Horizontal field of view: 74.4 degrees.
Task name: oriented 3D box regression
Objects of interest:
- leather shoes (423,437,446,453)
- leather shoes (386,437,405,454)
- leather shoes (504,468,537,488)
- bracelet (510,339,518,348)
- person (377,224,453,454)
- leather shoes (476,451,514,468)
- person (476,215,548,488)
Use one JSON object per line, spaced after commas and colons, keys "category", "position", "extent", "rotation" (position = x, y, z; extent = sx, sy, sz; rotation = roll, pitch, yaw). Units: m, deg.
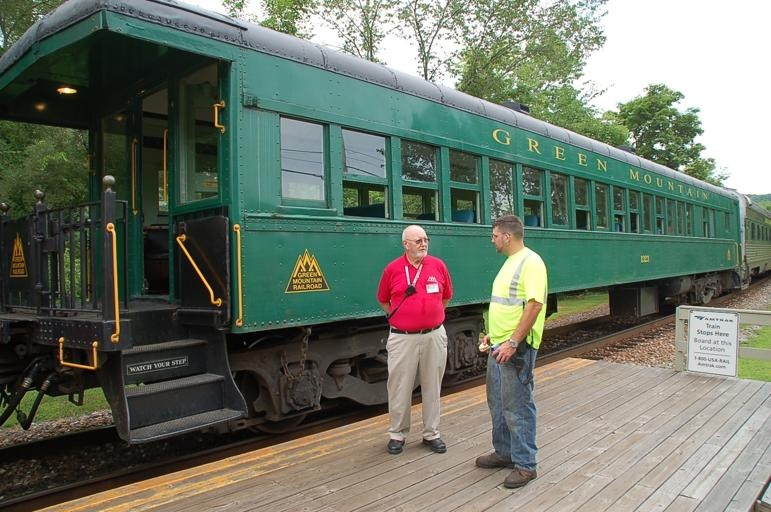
{"category": "leather shoes", "position": [0.520, 1.928, 5.252], "extent": [0.114, 0.085, 0.225], "rotation": [-1, -1, -40]}
{"category": "leather shoes", "position": [0.121, 1.926, 5.228], "extent": [0.221, 0.130, 0.180], "rotation": [-2, 7, -17]}
{"category": "leather shoes", "position": [1.237, 2.003, 4.643], "extent": [0.312, 0.124, 0.119], "rotation": [3, -8, -30]}
{"category": "bracelet", "position": [1.156, 0.779, 4.559], "extent": [0.071, 0.069, 0.021], "rotation": [-39, -21, -36]}
{"category": "person", "position": [0.309, 0.826, 5.319], "extent": [0.748, 2.289, 0.622], "rotation": [-1, 7, -2]}
{"category": "leather shoes", "position": [1.041, 1.963, 4.878], "extent": [0.317, 0.130, 0.143], "rotation": [1, -4, 11]}
{"category": "person", "position": [1.191, 0.837, 4.742], "extent": [0.595, 2.412, 0.656], "rotation": [-2, 7, -15]}
